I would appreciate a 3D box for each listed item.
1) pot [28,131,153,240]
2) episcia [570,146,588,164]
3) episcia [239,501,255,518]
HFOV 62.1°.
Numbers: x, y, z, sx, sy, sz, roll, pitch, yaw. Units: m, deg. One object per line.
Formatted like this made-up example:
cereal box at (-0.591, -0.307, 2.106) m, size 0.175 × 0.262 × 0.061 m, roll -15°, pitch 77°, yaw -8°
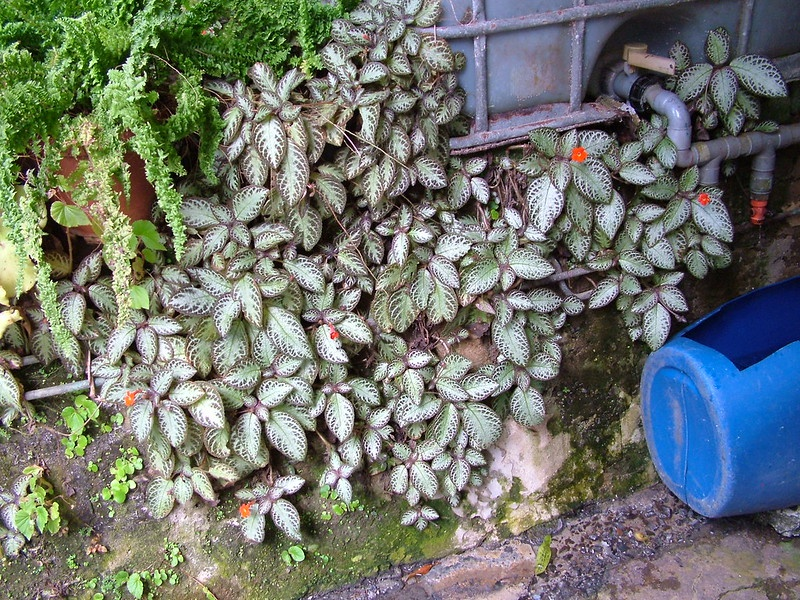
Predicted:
pot at (-1.163, -0.489, 2.613) m, size 0.346 × 0.387 × 0.330 m, roll 5°, pitch 53°, yaw -7°
episcia at (0.774, -0.621, 2.863) m, size 0.075 × 0.067 × 0.043 m, roll -5°, pitch 33°, yaw 2°
episcia at (-0.680, 0.924, 2.930) m, size 0.027 × 0.063 × 0.073 m, roll 6°, pitch 15°, yaw 13°
